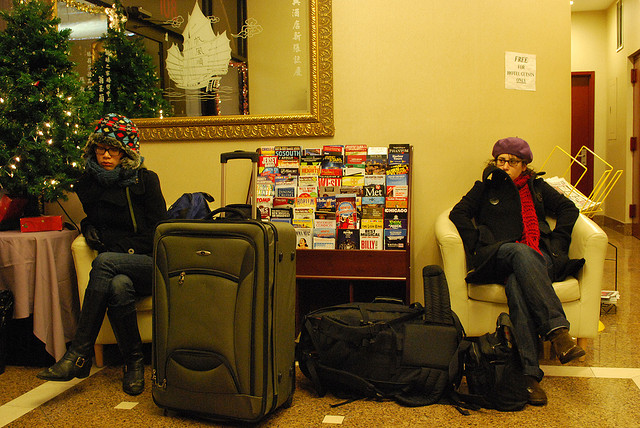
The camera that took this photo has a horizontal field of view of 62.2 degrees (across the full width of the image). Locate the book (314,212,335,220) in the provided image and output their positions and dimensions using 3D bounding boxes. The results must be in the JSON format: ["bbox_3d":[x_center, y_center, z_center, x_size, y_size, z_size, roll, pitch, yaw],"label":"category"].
[{"bbox_3d":[0.037,0.015,4.242,0.157,0.058,0.037,-1,8,3],"label":"book"}]

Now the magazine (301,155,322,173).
[{"bbox_3d":[-0.064,-0.379,4.402,0.189,0.171,0.103,0,-4,7],"label":"magazine"}]

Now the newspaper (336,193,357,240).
[{"bbox_3d":[0.210,-0.002,4.247,0.173,0.318,0.041,-2,-22,4],"label":"newspaper"}]

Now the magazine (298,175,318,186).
[{"bbox_3d":[-0.096,-0.268,4.327,0.153,0.102,0.082,1,2,8],"label":"magazine"}]

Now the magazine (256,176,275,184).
[{"bbox_3d":[-0.449,-0.278,4.383,0.141,0.063,0.040,-2,8,-2],"label":"magazine"}]

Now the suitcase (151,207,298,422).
[{"bbox_3d":[-0.607,0.612,3.273,0.826,1.207,0.409,0,8,13],"label":"suitcase"}]

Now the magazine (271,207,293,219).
[{"bbox_3d":[-0.309,-0.002,4.352,0.165,0.088,0.104,3,-1,2],"label":"magazine"}]

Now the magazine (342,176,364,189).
[{"bbox_3d":[0.271,-0.250,4.330,0.106,0.097,0.026,2,-10,5],"label":"magazine"}]

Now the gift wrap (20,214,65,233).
[{"bbox_3d":[-2.093,0.069,3.989,0.287,0.104,0.178,-5,8,-26],"label":"gift wrap"}]

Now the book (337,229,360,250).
[{"bbox_3d":[0.230,0.203,4.170,0.155,0.141,0.051,2,-7,2],"label":"book"}]

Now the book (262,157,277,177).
[{"bbox_3d":[-0.422,-0.382,4.397,0.149,0.195,0.108,-1,-6,4],"label":"book"}]

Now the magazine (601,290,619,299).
[{"bbox_3d":[2.521,0.694,4.602,0.113,0.046,0.126,3,8,30],"label":"magazine"}]

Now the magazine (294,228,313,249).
[{"bbox_3d":[-0.123,0.191,4.231,0.130,0.148,0.084,-2,8,-6],"label":"magazine"}]

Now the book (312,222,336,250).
[{"bbox_3d":[0.031,0.143,4.262,0.191,0.247,0.145,-1,32,-8],"label":"book"}]

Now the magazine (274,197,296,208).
[{"bbox_3d":[-0.288,-0.094,4.320,0.178,0.085,0.039,-1,8,6],"label":"magazine"}]

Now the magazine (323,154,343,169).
[{"bbox_3d":[0.101,-0.425,4.349,0.183,0.128,0.101,1,-2,8],"label":"magazine"}]

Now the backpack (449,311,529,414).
[{"bbox_3d":[1.004,0.985,3.503,0.531,0.533,0.423,19,-15,-36],"label":"backpack"}]

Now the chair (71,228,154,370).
[{"bbox_3d":[-1.516,0.619,3.753,0.428,0.999,0.899,-9,10,-43],"label":"chair"}]

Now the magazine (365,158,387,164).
[{"bbox_3d":[0.457,-0.428,4.318,0.176,0.045,0.039,0,8,13],"label":"magazine"}]

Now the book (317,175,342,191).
[{"bbox_3d":[0.070,-0.204,4.308,0.201,0.128,0.112,1,-24,4],"label":"book"}]

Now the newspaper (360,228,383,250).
[{"bbox_3d":[0.405,0.196,4.156,0.248,0.216,0.136,-1,-8,10],"label":"newspaper"}]

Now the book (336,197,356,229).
[{"bbox_3d":[0.208,-0.008,4.226,0.157,0.224,0.095,-1,8,2],"label":"book"}]

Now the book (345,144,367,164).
[{"bbox_3d":[0.293,-0.492,4.418,0.163,0.139,0.151,0,-4,5],"label":"book"}]

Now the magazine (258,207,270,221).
[{"bbox_3d":[-0.455,0.005,4.281,0.108,0.100,0.028,3,-3,5],"label":"magazine"}]

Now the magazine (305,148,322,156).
[{"bbox_3d":[-0.057,-0.517,4.434,0.143,0.061,0.137,-2,7,-3],"label":"magazine"}]

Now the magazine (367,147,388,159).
[{"bbox_3d":[0.471,-0.512,4.338,0.163,0.059,0.035,-1,8,4],"label":"magazine"}]

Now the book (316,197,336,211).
[{"bbox_3d":[0.049,-0.080,4.265,0.174,0.116,0.098,1,0,12],"label":"book"}]

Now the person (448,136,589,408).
[{"bbox_3d":[1.478,0.304,3.750,0.920,1.817,1.216,1,-2,1],"label":"person"}]

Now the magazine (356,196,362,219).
[{"bbox_3d":[0.314,-0.050,4.237,0.047,0.164,0.064,-1,8,2],"label":"magazine"}]

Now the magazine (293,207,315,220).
[{"bbox_3d":[-0.130,-0.005,4.278,0.162,0.109,0.089,1,-1,3],"label":"magazine"}]

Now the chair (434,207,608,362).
[{"bbox_3d":[1.450,0.504,4.129,1.227,1.102,1.028,0,0,5],"label":"chair"}]

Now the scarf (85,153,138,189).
[{"bbox_3d":[-1.515,-0.319,3.829,0.323,0.221,0.237,1,7,-3],"label":"scarf"}]

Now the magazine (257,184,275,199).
[{"bbox_3d":[-0.448,-0.193,4.368,0.142,0.096,0.054,-2,8,-4],"label":"magazine"}]

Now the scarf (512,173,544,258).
[{"bbox_3d":[1.538,-0.029,3.925,0.192,0.520,0.459,1,8,19],"label":"scarf"}]
